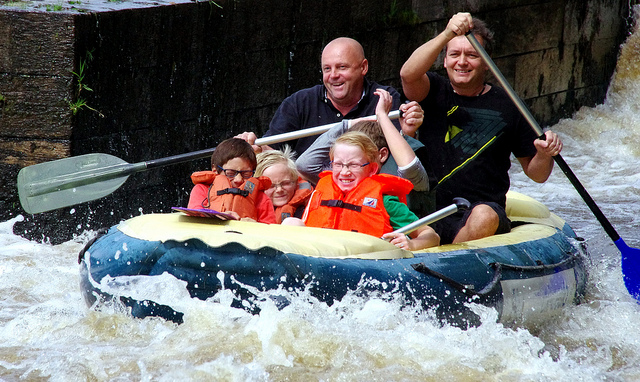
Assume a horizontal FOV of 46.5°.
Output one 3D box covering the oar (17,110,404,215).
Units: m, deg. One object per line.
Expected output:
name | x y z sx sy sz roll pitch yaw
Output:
oar | -1.030 -0.249 6.595 4.126 0.610 0.308 -11 10 -17

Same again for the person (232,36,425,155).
person | 0.150 -0.657 6.913 1.729 1.398 1.047 0 9 14

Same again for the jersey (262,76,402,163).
jersey | 0.100 -0.625 6.694 0.700 0.996 0.307 27 -17 1

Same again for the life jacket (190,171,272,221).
life jacket | -0.695 0.113 5.928 0.571 0.585 0.342 11 -38 -8

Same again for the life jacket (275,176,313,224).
life jacket | -0.215 0.071 6.180 0.191 0.452 0.318 0 2 -32

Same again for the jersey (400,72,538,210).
jersey | 1.655 -0.416 7.058 1.061 1.222 2.193 1 1 16

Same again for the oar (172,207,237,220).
oar | -0.863 0.168 5.616 0.484 0.049 0.366 4 -2 13

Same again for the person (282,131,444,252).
person | 0.389 0.065 5.873 0.997 1.027 0.398 -15 -14 11

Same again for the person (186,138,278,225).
person | -0.679 -0.075 5.897 0.564 0.760 0.336 7 -16 -21

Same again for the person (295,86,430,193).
person | 0.408 -0.405 6.161 0.929 0.968 0.337 6 -12 21
